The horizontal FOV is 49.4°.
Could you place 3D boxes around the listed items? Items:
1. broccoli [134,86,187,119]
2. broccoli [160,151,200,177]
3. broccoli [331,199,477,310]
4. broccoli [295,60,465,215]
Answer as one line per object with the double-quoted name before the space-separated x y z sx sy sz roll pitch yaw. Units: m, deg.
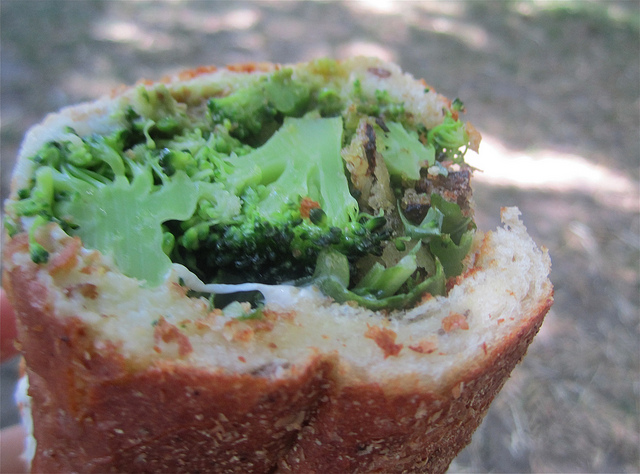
"broccoli" -0.538 -0.441 2.310 0.134 0.031 0.102 3 84 -29
"broccoli" -0.448 -0.236 2.237 0.098 0.024 0.087 12 69 -17
"broccoli" 0.278 0.067 2.192 0.457 0.110 0.295 -35 97 -10
"broccoli" 0.155 -0.351 2.529 0.615 0.388 0.534 -14 107 -33
